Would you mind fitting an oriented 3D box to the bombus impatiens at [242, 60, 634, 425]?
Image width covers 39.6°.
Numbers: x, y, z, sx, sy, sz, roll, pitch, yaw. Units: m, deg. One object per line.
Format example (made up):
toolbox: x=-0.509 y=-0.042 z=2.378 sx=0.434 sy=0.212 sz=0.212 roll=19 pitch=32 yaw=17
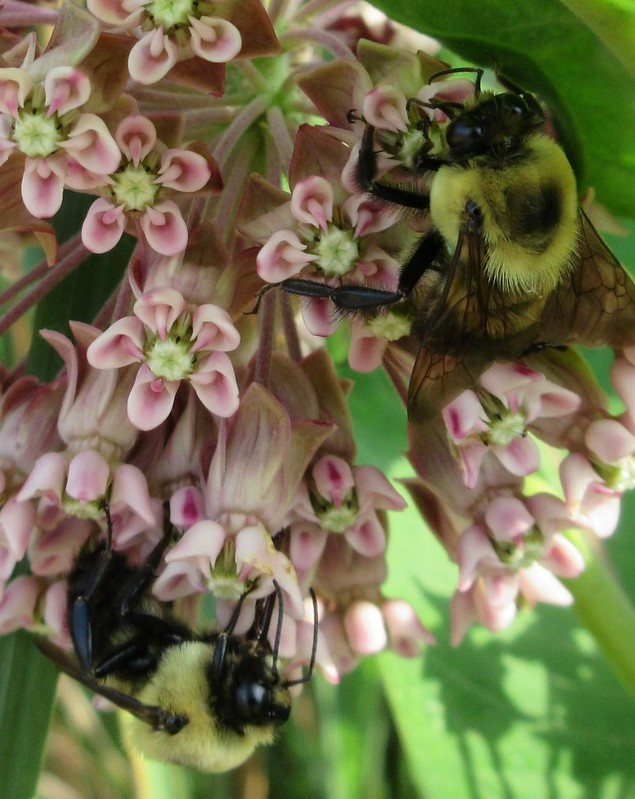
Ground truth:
bombus impatiens: x=0.132 y=-0.130 z=0.900 sx=0.319 sy=0.351 sz=0.132 roll=-14 pitch=14 yaw=-27
